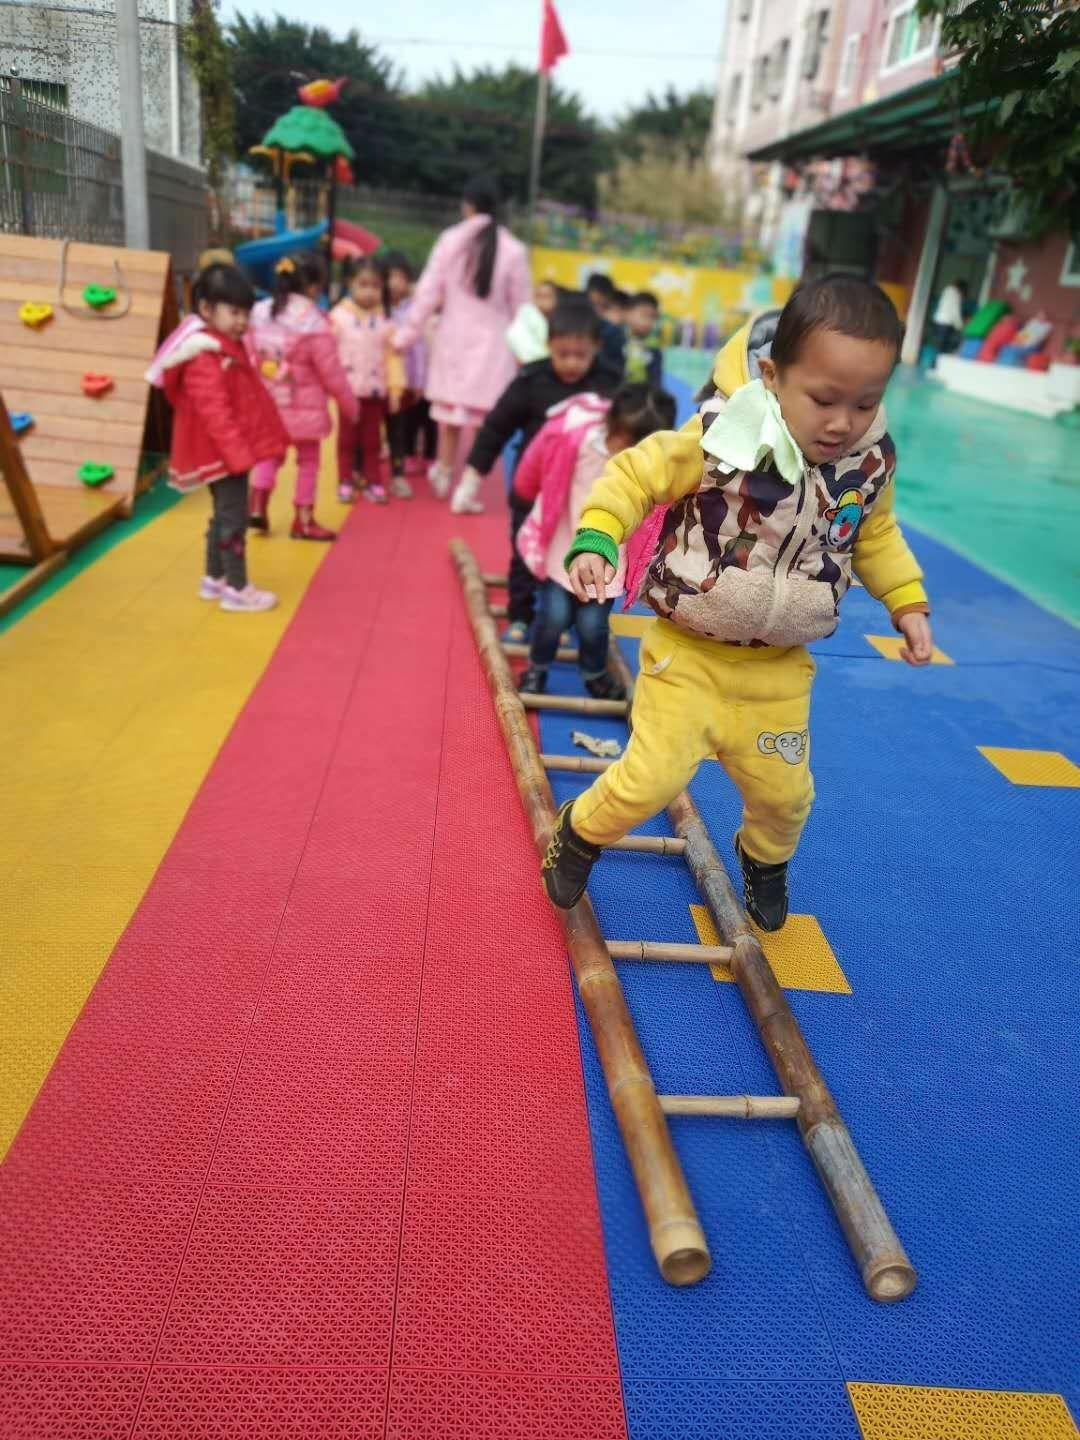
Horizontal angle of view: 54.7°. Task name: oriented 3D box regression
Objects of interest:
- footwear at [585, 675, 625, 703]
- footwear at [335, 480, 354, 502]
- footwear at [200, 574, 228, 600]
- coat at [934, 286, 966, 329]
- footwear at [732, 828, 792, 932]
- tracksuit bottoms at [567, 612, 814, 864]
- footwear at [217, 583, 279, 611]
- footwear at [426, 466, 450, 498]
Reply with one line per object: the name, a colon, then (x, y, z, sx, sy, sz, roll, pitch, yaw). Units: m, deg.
footwear: (0.221, -0.108, 3.480, 0.034, 0.070, 0.073, 40, 59, 12)
footwear: (-1.127, -1.324, 6.057, 0.091, 0.038, 0.125, -1, 46, -6)
footwear: (-1.312, -0.532, 4.169, 0.069, 0.070, 0.169, 6, 19, 6)
coat: (5.827, -5.858, 14.742, 0.380, 0.575, 0.760, 14, 26, 16)
footwear: (0.458, 0.350, 2.304, 0.090, 0.247, 0.173, -4, 0, -1)
tracksuit bottoms: (0.335, 0.065, 2.047, 0.501, 0.468, 0.237, 14, -8, -12)
footwear: (-1.146, -0.489, 4.094, 0.199, 0.078, 0.108, -5, 25, -24)
footwear: (-0.619, -1.497, 6.354, 0.107, 0.128, 0.315, -4, 52, -12)
